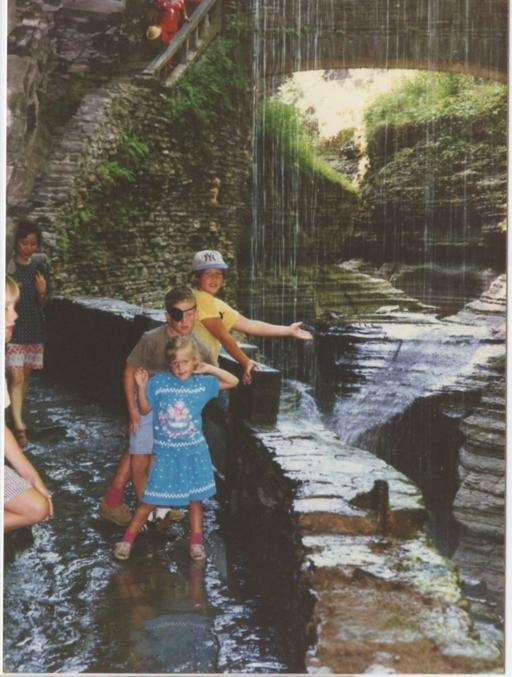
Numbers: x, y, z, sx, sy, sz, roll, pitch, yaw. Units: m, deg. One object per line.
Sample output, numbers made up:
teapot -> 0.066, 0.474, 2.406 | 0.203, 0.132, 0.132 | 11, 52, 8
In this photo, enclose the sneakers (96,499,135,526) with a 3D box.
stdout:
sneakers -> -0.789, 1.005, 4.775 | 0.215, 0.099, 0.095 | 27, 2, -6
